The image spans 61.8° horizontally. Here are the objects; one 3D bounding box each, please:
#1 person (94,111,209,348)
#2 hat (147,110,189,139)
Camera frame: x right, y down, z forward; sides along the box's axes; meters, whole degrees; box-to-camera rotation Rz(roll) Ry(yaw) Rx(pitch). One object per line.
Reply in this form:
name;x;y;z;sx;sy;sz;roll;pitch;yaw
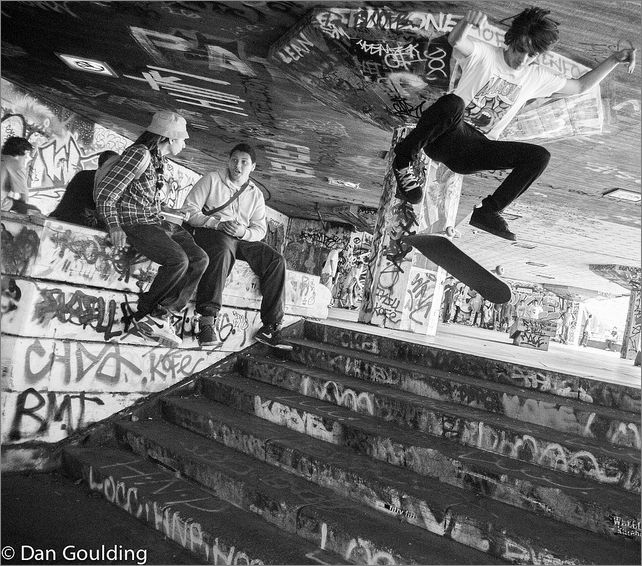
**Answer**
person;-1.463;-0.483;4.674;1.049;1.968;0.477;16;2;-8
hat;-1.313;-1.377;4.657;0.302;0.148;0.252;14;23;-25
